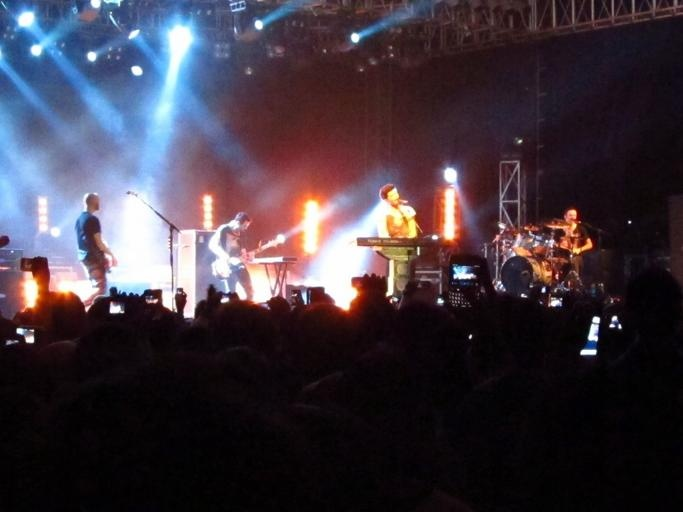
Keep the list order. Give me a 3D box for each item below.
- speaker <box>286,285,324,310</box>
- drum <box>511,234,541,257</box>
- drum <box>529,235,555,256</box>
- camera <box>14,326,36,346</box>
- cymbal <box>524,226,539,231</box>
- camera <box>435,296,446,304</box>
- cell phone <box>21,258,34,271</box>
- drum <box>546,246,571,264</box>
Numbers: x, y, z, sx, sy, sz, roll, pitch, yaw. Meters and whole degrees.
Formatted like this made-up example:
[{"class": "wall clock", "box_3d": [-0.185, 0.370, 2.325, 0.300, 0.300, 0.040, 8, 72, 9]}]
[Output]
[{"class": "speaker", "box_3d": [-0.380, 0.433, 7.067, 0.330, 0.265, 0.594, 2, -3, -17]}, {"class": "drum", "box_3d": [3.674, -0.210, 13.579, 0.386, 0.313, 0.393, 9, -15, 2]}, {"class": "drum", "box_3d": [4.009, -0.213, 13.384, 0.345, 0.357, 0.362, 2, -3, 4]}, {"class": "camera", "box_3d": [-2.456, 0.610, 5.188, 0.205, 0.121, 0.144, 11, -4, 6]}, {"class": "cymbal", "box_3d": [3.869, -0.547, 13.774, 0.289, 0.146, 0.297, 2, 3, 16]}, {"class": "camera", "box_3d": [1.032, 0.466, 7.070, 0.056, 0.108, 0.110, 1, 2, -2]}, {"class": "cell phone", "box_3d": [-2.925, 0.078, 6.299, 0.095, 0.187, 0.096, 0, 7, -22]}, {"class": "drum", "box_3d": [4.356, -0.016, 13.504, 0.346, 0.232, 0.362, -1, 3, 0]}]
